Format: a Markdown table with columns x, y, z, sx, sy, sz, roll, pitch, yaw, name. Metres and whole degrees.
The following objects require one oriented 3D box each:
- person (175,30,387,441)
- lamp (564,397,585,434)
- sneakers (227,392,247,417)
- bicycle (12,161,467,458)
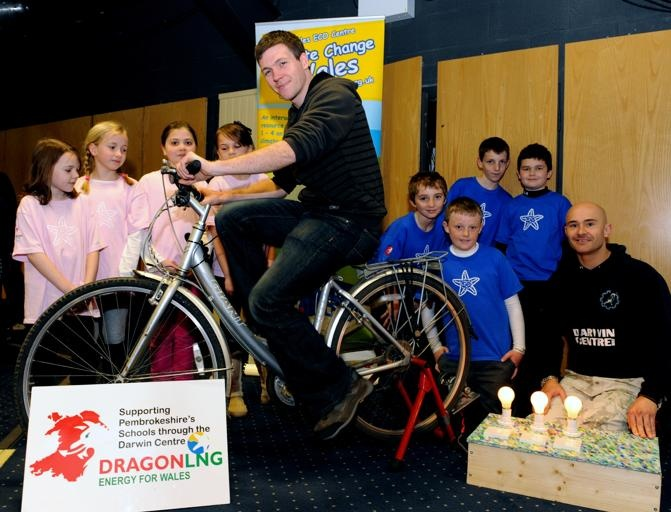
| x | y | z | sx | sy | sz | roll | pitch | yaw | name |
| --- | --- | --- | --- | --- | --- | --- | --- | --- | --- |
| -0.174 | -0.104 | 2.625 | 0.824 | 1.869 | 0.600 | 0 | 6 | -1 | person |
| 1.029 | 0.700 | 2.452 | 0.100 | 0.169 | 0.103 | -2 | -9 | 41 | lamp |
| -0.550 | 0.823 | 3.155 | 0.099 | 0.102 | 0.223 | 0 | -6 | -6 | sneakers |
| -0.321 | 0.304 | 3.187 | 2.336 | 1.592 | 1.104 | 2 | -2 | -23 | bicycle |
